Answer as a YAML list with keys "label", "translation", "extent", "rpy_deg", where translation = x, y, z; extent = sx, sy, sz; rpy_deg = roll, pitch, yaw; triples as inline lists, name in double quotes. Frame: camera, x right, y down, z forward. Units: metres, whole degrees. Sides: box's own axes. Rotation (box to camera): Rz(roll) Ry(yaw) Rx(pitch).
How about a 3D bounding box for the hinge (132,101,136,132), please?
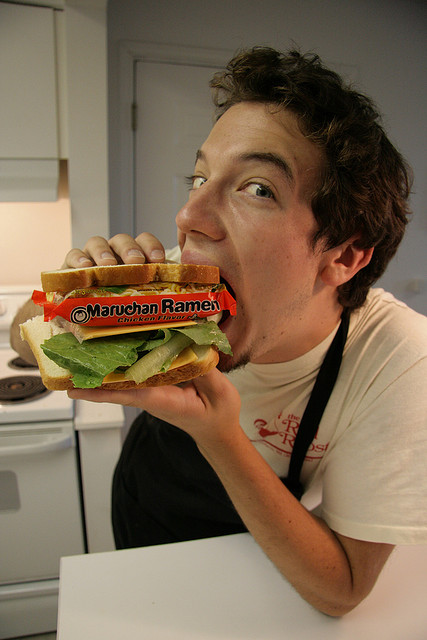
- label: "hinge"
  translation: [-0.419, -1.075, 2.987]
  extent: [0.017, 0.140, 0.032]
  rpy_deg: [0, 10, -8]

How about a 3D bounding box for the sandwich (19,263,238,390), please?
- label: "sandwich"
  translation: [-0.170, 0.017, 1.298]
  extent: [0.362, 0.158, 0.398]
  rpy_deg: [-3, 15, -21]
